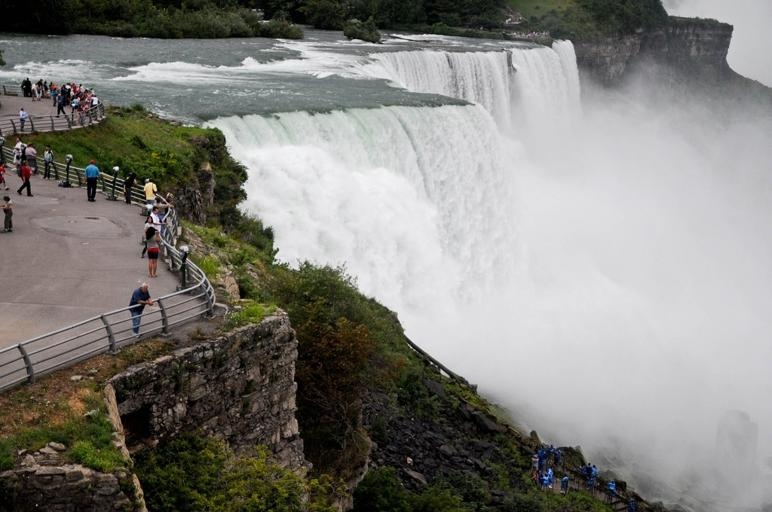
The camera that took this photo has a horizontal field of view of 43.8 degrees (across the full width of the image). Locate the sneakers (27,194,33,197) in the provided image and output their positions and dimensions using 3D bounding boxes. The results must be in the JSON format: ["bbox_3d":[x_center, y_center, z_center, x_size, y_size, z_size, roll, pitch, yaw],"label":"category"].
[{"bbox_3d":[-23.986,-4.168,64.528,0.375,0.265,0.226,-3,20,-35],"label":"sneakers"}]

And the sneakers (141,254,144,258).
[{"bbox_3d":[-15.175,-0.019,59.917,0.192,0.249,0.218,2,18,-22],"label":"sneakers"}]

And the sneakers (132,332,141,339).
[{"bbox_3d":[-14.363,4.500,55.068,0.226,0.206,0.531,-20,13,-36],"label":"sneakers"}]
